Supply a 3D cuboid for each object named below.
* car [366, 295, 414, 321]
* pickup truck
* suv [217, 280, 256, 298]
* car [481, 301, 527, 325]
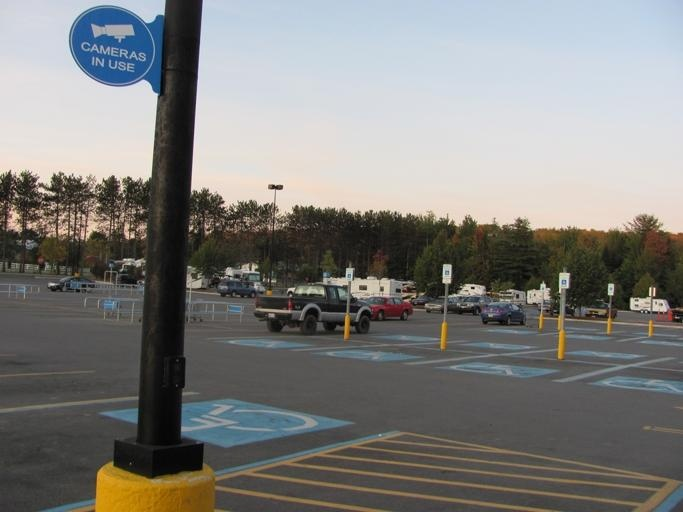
[{"bbox_3d":[2.965,3.285,43.962,1.397,1.119,3.045,-4,-7,43],"label":"car"},{"bbox_3d":[-1.141,2.156,29.035,4.991,2.076,1.925,6,-4,-43],"label":"pickup truck"},{"bbox_3d":[-10.828,3.431,72.536,1.689,1.502,3.578,4,5,44],"label":"suv"},{"bbox_3d":[10.122,3.641,44.249,1.321,1.032,2.990,1,3,36],"label":"car"}]
